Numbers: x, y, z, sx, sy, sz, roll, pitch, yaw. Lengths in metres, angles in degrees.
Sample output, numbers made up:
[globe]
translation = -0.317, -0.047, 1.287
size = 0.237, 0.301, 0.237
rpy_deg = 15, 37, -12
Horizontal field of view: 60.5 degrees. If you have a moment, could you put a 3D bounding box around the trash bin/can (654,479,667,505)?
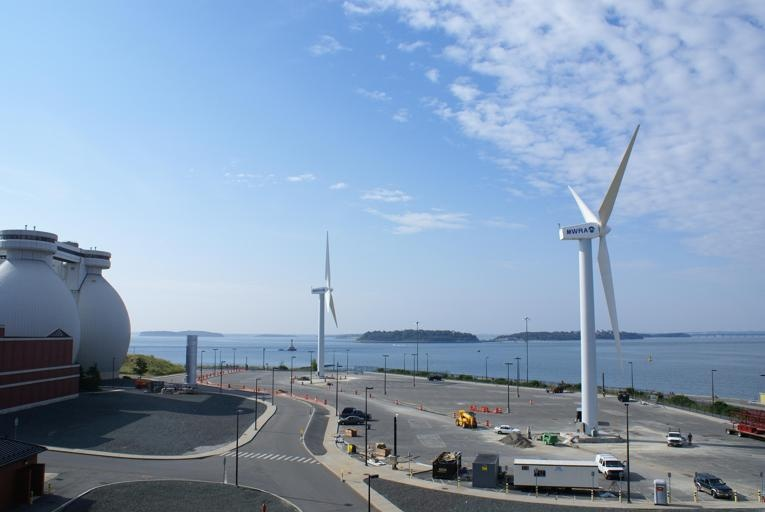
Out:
[trash bin/can]
translation = 36.895, 31.396, 86.776
size = 1.702, 3.106, 1.259
rpy_deg = 0, -10, 13

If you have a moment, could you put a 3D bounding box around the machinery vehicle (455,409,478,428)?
[machinery vehicle]
translation = 15.297, 30.241, 121.299
size = 1.863, 2.171, 5.444
rpy_deg = 3, -4, -11

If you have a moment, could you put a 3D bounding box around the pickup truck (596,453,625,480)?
[pickup truck]
translation = 32.793, 30.499, 93.921
size = 2.568, 3.110, 3.610
rpy_deg = 5, -10, -17

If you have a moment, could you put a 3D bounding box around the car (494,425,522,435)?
[car]
translation = 21.640, 30.491, 114.617
size = 3.868, 1.117, 1.959
rpy_deg = -1, 0, 10
